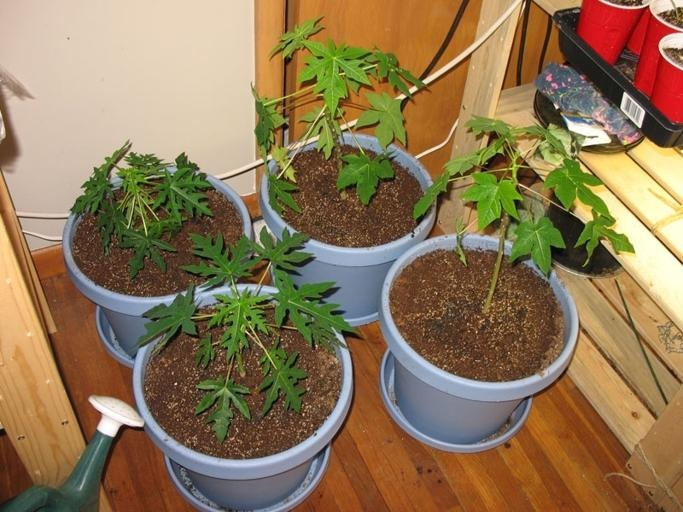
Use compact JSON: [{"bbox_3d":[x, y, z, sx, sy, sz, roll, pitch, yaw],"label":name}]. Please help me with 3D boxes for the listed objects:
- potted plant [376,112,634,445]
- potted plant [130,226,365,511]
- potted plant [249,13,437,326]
[{"bbox_3d":[0.498,0.102,1.675,0.560,0.929,0.611,-13,42,-14],"label":"potted plant"},{"bbox_3d":[-0.294,0.503,1.694,0.647,0.485,0.717,-18,58,-20],"label":"potted plant"},{"bbox_3d":[0.007,-0.268,1.699,0.416,0.694,0.490,-32,52,-26],"label":"potted plant"}]
